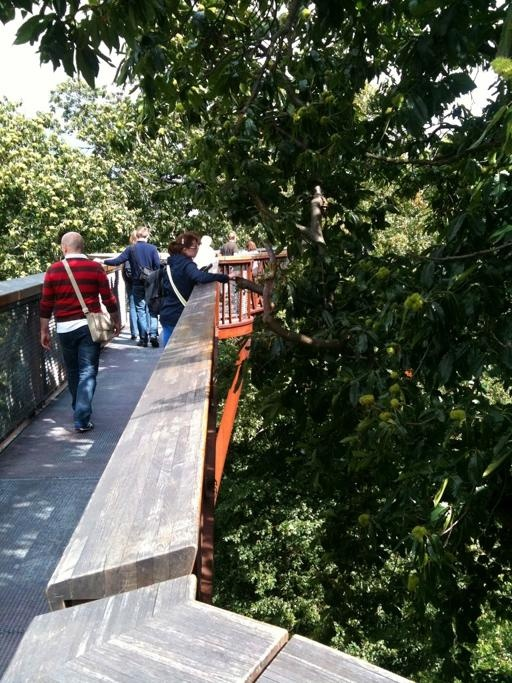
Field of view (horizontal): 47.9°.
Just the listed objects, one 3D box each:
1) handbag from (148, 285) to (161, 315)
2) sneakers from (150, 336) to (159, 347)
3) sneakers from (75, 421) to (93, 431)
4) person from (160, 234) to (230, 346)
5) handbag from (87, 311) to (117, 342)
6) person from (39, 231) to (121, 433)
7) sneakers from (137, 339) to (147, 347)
[{"bbox_3d":[-1.168,-0.481,6.697,0.132,0.323,0.245,0,-5,-1],"label":"handbag"},{"bbox_3d":[-1.596,-0.014,9.153,0.079,0.141,0.210,1,38,-5],"label":"sneakers"},{"bbox_3d":[-1.532,0.758,5.136,0.062,0.067,0.168,5,14,10],"label":"sneakers"},{"bbox_3d":[-0.612,-0.446,5.444,0.564,1.157,1.206,0,10,-11],"label":"person"},{"bbox_3d":[-1.298,-0.127,4.822,0.112,0.243,0.236,-16,3,24],"label":"handbag"},{"bbox_3d":[-1.509,-0.057,4.942,0.656,1.752,0.425,-1,10,-13],"label":"person"},{"bbox_3d":[-1.831,-0.011,9.305,0.155,0.089,0.130,-8,-33,-8],"label":"sneakers"}]
